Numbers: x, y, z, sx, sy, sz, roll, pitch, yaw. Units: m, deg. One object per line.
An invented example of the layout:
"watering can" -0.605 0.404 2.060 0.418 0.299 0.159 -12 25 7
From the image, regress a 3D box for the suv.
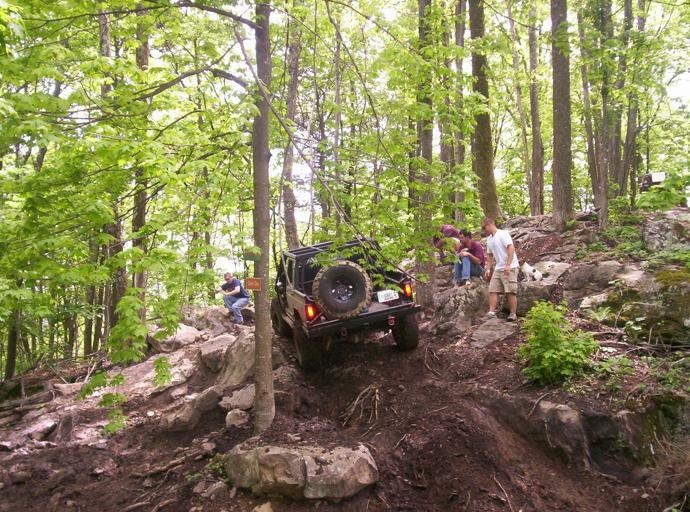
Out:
"suv" -0.245 1.055 14.445 2.831 2.620 4.930 -10 6 -16

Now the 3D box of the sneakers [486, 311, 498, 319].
"sneakers" 3.352 1.348 13.100 0.264 0.124 0.105 -3 -3 -19

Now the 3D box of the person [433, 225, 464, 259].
"person" 2.282 -0.323 12.492 0.466 0.327 0.744 -22 31 19

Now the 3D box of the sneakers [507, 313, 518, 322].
"sneakers" 3.756 1.372 12.896 0.217 0.180 0.271 -3 -1 17

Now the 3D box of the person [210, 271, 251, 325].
"person" -3.351 1.286 17.570 0.846 1.603 1.186 -2 0 -11

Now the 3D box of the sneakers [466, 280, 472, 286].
"sneakers" 2.979 0.657 13.848 0.145 0.105 0.302 -3 -1 12
